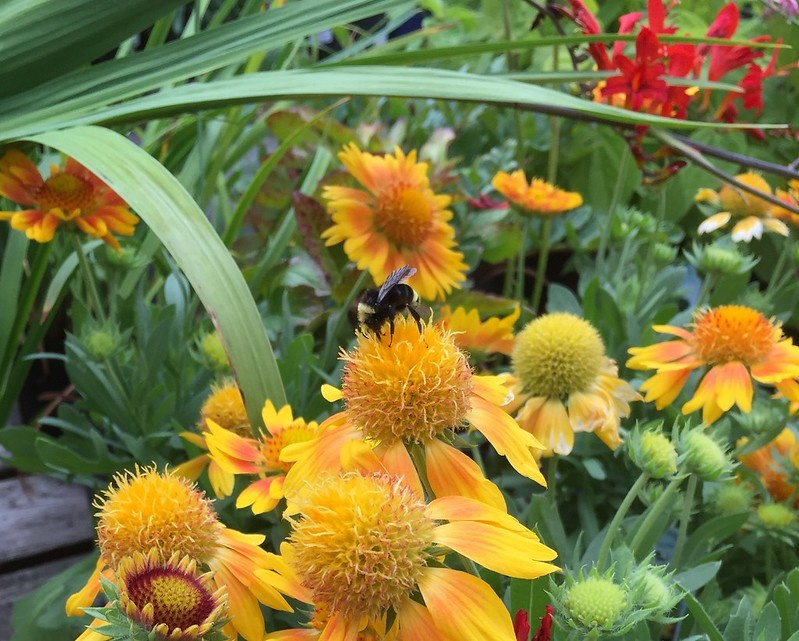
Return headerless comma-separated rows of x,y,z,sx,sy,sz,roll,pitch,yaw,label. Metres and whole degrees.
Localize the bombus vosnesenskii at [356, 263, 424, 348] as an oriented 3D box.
-0.003,-0.017,0.829,0.029,0.083,0.061,47,-5,-32,bombus vosnesenskii
